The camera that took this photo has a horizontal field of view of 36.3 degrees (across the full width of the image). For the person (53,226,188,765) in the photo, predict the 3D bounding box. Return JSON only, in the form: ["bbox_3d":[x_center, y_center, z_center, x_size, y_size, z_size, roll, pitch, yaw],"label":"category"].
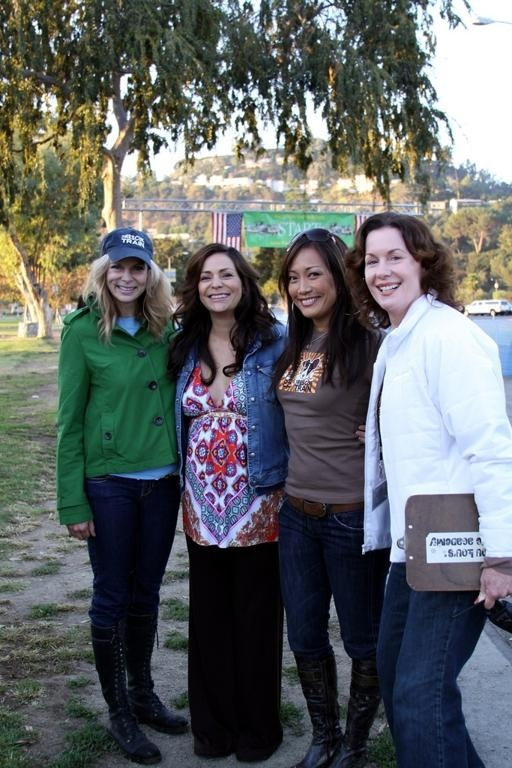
[{"bbox_3d":[-0.517,0.467,3.089,0.409,1.926,0.530,1,7,19],"label":"person"}]

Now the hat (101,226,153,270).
[{"bbox_3d":[-0.511,-0.547,3.142,0.146,0.115,0.196,7,7,-24],"label":"hat"}]

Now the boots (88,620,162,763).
[{"bbox_3d":[-0.507,1.166,3.002,0.173,0.497,0.310,-5,8,-31],"label":"boots"}]
